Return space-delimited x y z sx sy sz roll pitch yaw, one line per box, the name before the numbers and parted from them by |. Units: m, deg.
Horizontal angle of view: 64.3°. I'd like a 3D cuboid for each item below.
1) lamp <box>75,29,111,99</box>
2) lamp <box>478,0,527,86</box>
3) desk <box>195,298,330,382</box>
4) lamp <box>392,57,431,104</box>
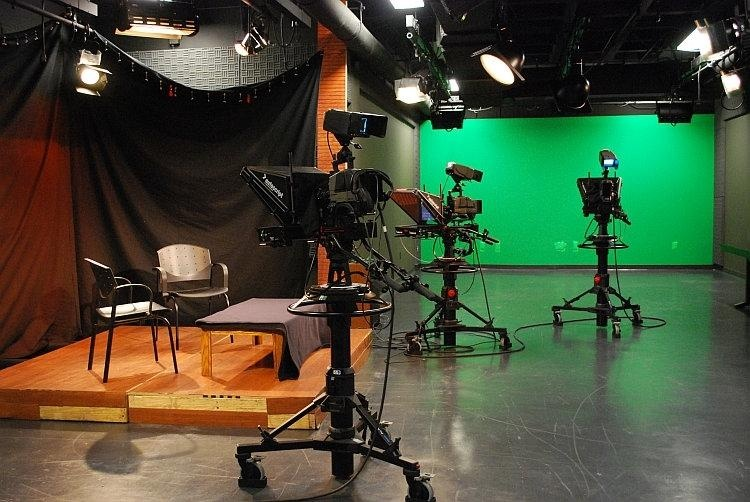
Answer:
lamp | -3.106 -2.083 6.585 0.324 0.636 0.283 1 -2 -44
lamp | 1.358 -2.254 6.406 0.458 0.930 0.523 0 -1 7
desk | -1.086 0.842 5.896 0.990 0.696 1.030 0 -2 10
lamp | 0.567 -2.600 9.374 0.553 0.346 0.741 2 3 -3
